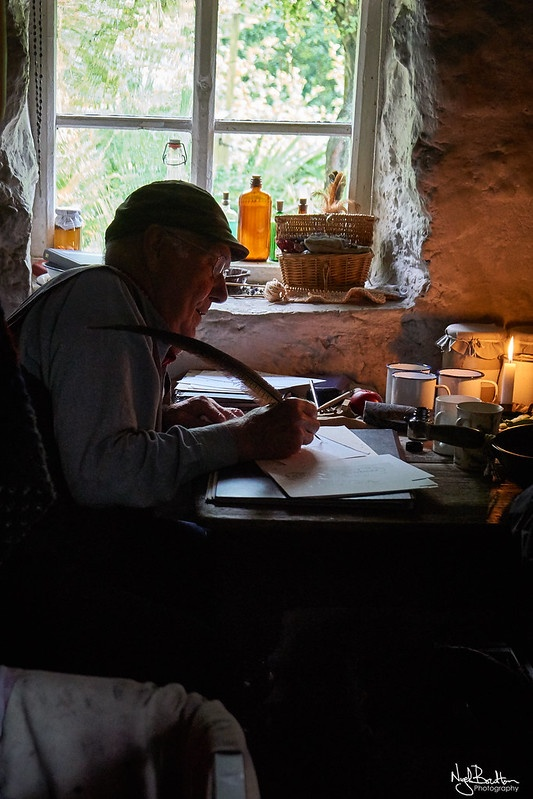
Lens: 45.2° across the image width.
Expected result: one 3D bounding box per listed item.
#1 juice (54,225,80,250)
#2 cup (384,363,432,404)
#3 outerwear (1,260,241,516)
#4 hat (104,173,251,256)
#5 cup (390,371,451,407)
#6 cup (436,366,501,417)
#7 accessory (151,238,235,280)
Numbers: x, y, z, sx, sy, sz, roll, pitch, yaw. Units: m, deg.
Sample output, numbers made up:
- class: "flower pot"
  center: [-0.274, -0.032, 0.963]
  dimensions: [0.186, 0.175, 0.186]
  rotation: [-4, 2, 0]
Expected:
- class: "juice"
  center: [-0.672, -0.546, 2.173]
  dimensions: [0.096, 0.101, 0.098]
  rotation: [1, 9, 1]
- class: "cup"
  center: [0.328, -0.047, 1.538]
  dimensions: [0.102, 0.108, 0.109]
  rotation: [1, 8, 0]
- class: "outerwear"
  center: [-0.212, 0.002, 1.017]
  dimensions: [0.360, 0.284, 0.359]
  rotation: [-2, 33, -12]
- class: "hat"
  center: [-0.157, -0.311, 1.114]
  dimensions: [0.182, 0.095, 0.129]
  rotation: [1, 9, -16]
- class: "cup"
  center: [0.341, -0.023, 1.401]
  dimensions: [0.115, 0.078, 0.070]
  rotation: [3, 1, 14]
- class: "cup"
  center: [0.443, -0.026, 1.472]
  dimensions: [0.154, 0.146, 0.103]
  rotation: [2, 8, 12]
- class: "accessory"
  center: [-0.128, -0.253, 1.143]
  dimensions: [0.089, 0.033, 0.067]
  rotation: [27, 2, -10]
